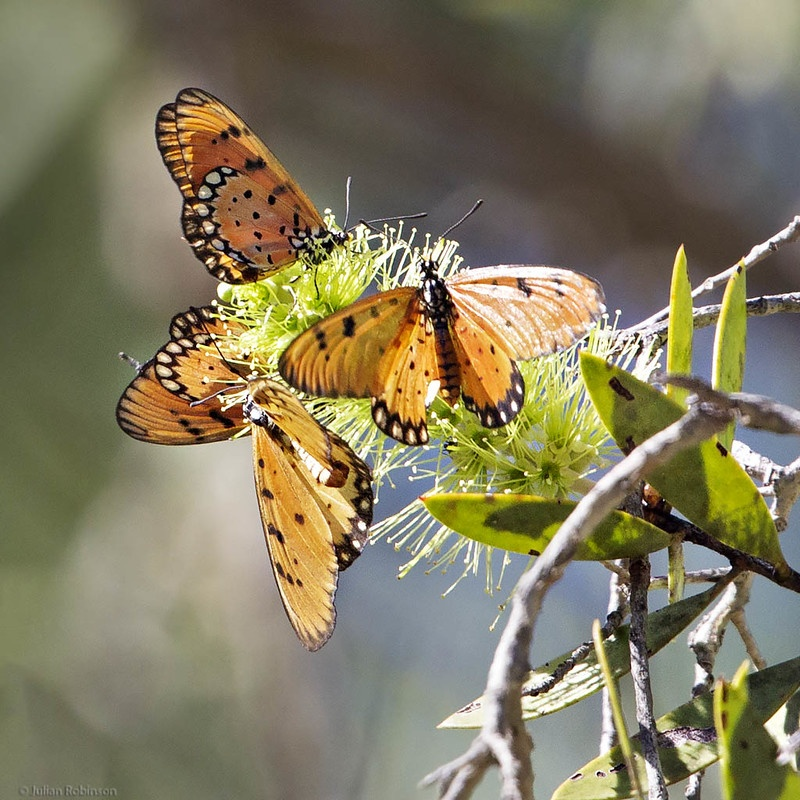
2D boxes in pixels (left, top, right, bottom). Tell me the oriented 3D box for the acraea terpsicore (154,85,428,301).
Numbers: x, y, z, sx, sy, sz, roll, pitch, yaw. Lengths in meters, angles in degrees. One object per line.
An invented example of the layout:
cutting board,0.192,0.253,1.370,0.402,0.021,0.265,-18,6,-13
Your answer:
acraea terpsicore,-0.116,-0.172,1.271,0.163,0.255,0.151,-17,70,22

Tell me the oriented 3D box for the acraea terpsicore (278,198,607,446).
acraea terpsicore,0.046,-0.074,1.292,0.264,0.110,0.222,-11,69,10

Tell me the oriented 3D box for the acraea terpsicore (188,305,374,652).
acraea terpsicore,-0.092,0.043,1.242,0.166,0.382,0.091,22,37,23
